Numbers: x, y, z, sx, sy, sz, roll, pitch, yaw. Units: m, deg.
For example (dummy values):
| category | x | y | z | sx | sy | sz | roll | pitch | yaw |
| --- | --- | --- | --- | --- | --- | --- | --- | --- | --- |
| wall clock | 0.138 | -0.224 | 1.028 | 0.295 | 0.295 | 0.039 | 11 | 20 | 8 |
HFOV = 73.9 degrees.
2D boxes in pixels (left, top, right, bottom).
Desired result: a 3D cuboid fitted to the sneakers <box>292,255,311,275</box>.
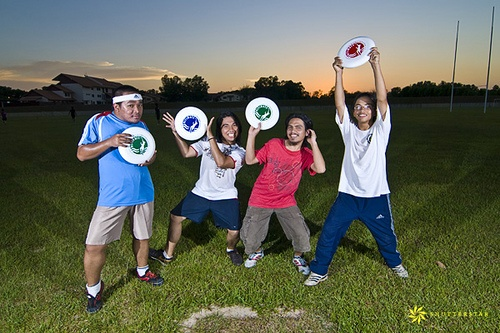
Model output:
| category | x | y | z | sx | sy | sz | roll | pitch | yaw |
| --- | --- | --- | --- | --- | --- | --- | --- | --- | --- |
| sneakers | 0.876 | 1.681 | 5.604 | 0.147 | 0.160 | 0.343 | 1 | 6 | -24 |

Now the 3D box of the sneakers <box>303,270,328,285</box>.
| category | x | y | z | sx | sy | sz | roll | pitch | yaw |
| --- | --- | --- | --- | --- | --- | --- | --- | --- | --- |
| sneakers | 1.083 | 1.809 | 5.300 | 0.406 | 0.194 | 0.160 | -2 | -1 | -24 |

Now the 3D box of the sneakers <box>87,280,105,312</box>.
| category | x | y | z | sx | sy | sz | roll | pitch | yaw |
| --- | --- | --- | --- | --- | --- | --- | --- | --- | --- |
| sneakers | -2.285 | 1.917 | 4.945 | 0.190 | 0.445 | 0.184 | 1 | 0 | 6 |

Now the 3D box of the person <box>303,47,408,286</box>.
| category | x | y | z | sx | sy | sz | roll | pitch | yaw |
| --- | --- | --- | --- | --- | --- | --- | --- | --- | --- |
| person | 1.739 | 0.027 | 5.237 | 1.531 | 3.607 | 0.954 | -7 | 16 | -10 |

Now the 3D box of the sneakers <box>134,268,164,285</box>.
| category | x | y | z | sx | sy | sz | roll | pitch | yaw |
| --- | --- | --- | --- | --- | --- | --- | --- | --- | --- |
| sneakers | -1.600 | 1.793 | 5.374 | 0.441 | 0.206 | 0.174 | 8 | 9 | 6 |

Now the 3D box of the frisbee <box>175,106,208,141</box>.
| category | x | y | z | sx | sy | sz | roll | pitch | yaw |
| --- | --- | --- | --- | --- | --- | --- | --- | --- | --- |
| frisbee | -0.943 | -0.675 | 5.401 | 0.535 | 0.542 | 0.330 | -7 | 16 | -10 |

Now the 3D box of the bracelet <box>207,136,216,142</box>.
| category | x | y | z | sx | sy | sz | roll | pitch | yaw |
| --- | --- | --- | --- | --- | --- | --- | --- | --- | --- |
| bracelet | -0.601 | -0.449 | 5.291 | 0.106 | 0.075 | 0.176 | -7 | 16 | -9 |
